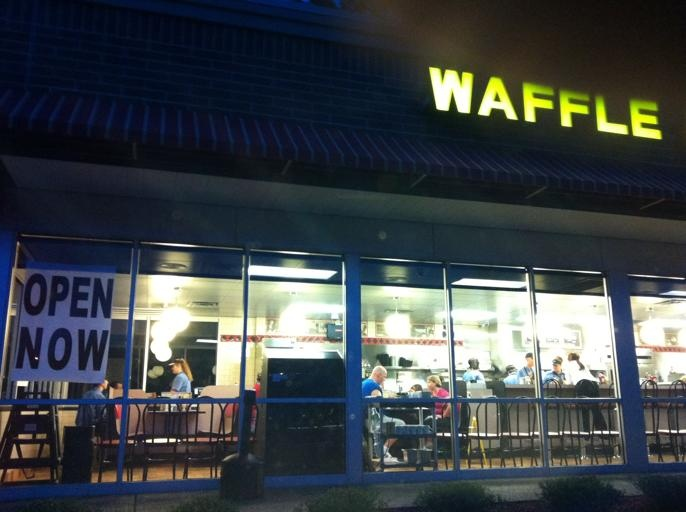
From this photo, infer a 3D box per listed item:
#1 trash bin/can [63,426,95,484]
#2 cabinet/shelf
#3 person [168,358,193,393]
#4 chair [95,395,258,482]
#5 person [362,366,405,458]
[{"bbox_3d":[-3.559,2.690,9.310,0.369,0.745,0.671,5,-16,-21],"label":"trash bin/can"},{"bbox_3d":[0.922,2.735,10.660,1.173,1.113,1.069,6,-17,-21],"label":"cabinet/shelf"},{"bbox_3d":[-2.994,2.256,12.938,0.374,0.762,1.894,3,-15,-13],"label":"person"},{"bbox_3d":[-2.521,2.796,10.418,1.529,0.938,0.832,3,-22,-13],"label":"chair"},{"bbox_3d":[0.678,2.459,10.687,0.727,1.461,0.636,-3,6,10],"label":"person"}]
